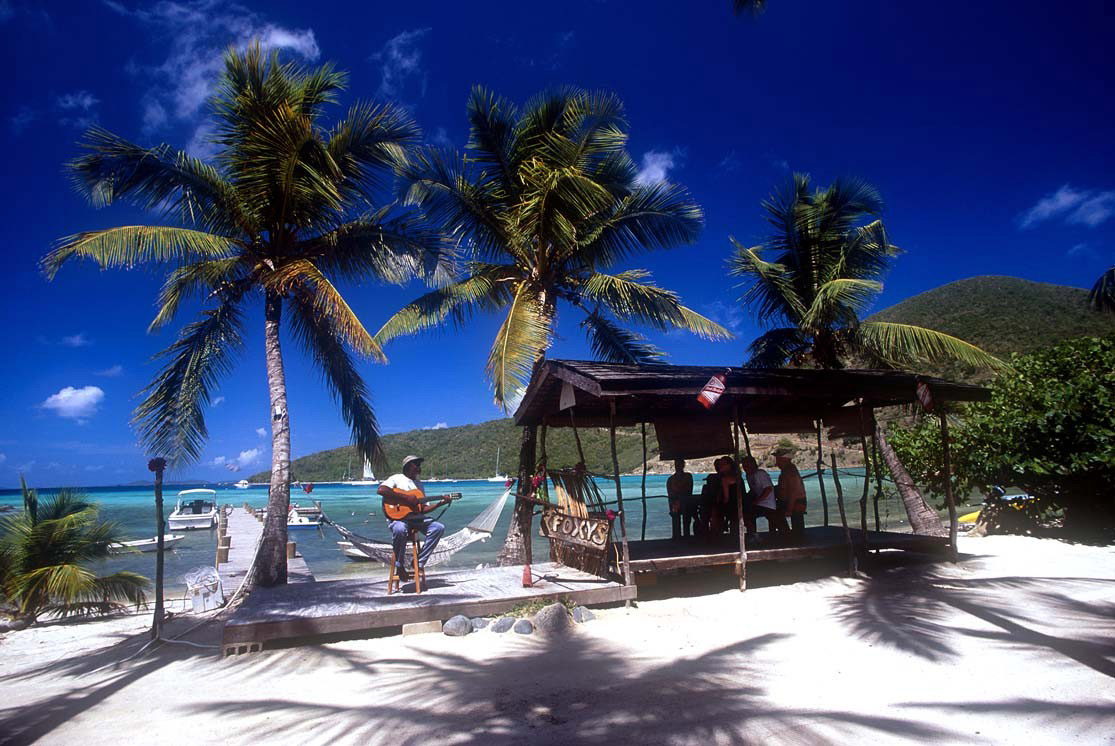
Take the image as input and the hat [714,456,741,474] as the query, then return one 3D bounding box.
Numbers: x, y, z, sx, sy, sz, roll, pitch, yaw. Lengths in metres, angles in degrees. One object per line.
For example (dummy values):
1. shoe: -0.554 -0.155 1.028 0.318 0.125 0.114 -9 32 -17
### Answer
1. hat: 3.748 1.991 14.660 0.368 0.367 0.323 -20 -26 37
